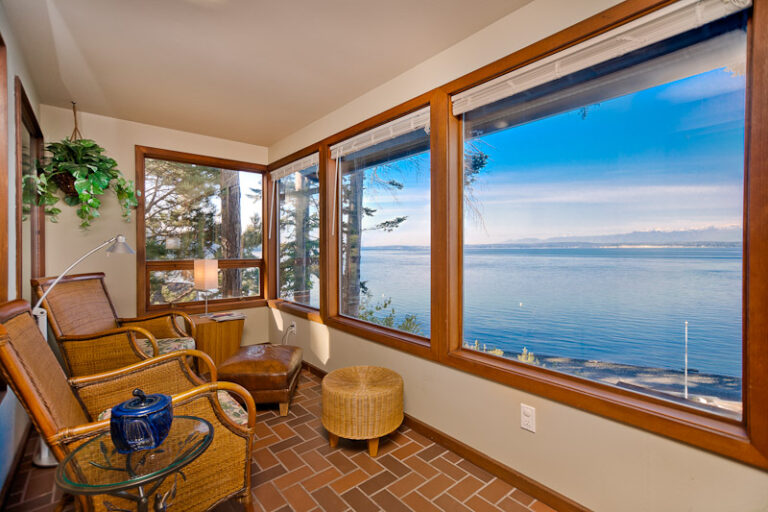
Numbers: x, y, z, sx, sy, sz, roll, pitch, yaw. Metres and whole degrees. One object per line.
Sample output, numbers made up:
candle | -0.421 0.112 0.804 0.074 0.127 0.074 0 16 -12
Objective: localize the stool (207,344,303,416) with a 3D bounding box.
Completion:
stool | -1.157 1.093 4.472 0.577 0.369 0.777 1 -3 -5

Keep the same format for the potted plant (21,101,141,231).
potted plant | -3.068 -0.696 4.634 0.659 0.853 1.156 2 5 23

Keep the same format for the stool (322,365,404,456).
stool | -0.125 1.207 3.923 0.634 0.405 0.636 -1 -1 37
